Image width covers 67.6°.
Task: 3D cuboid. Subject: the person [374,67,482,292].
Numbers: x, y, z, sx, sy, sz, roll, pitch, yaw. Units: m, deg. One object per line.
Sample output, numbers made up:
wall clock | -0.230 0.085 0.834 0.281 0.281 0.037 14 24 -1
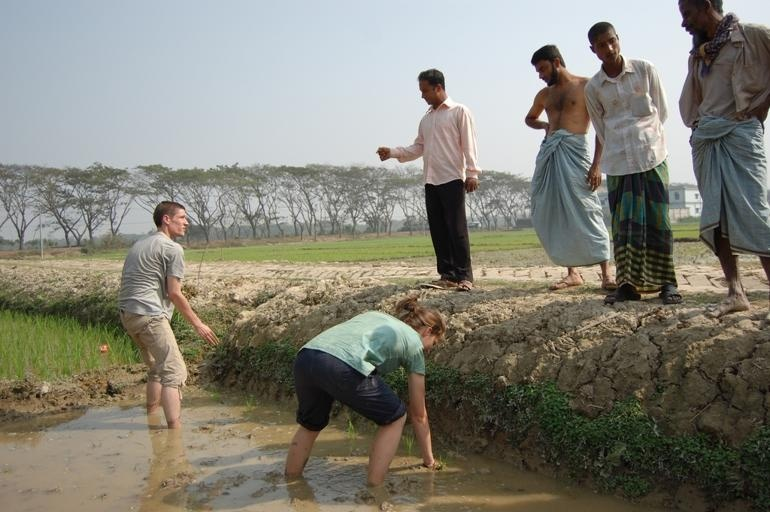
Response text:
person | 0.847 -1.045 7.891 0.746 2.963 1.296 -10 13 -35

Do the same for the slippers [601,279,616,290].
slippers | 2.699 0.347 6.945 0.078 0.079 0.184 -2 -12 0

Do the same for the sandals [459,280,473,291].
sandals | 1.064 0.389 7.579 0.185 0.115 0.252 0 10 14

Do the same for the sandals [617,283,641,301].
sandals | 2.641 0.416 6.306 0.235 0.155 0.241 -11 -22 38

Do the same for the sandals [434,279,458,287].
sandals | 0.830 0.367 7.789 0.304 0.127 0.111 6 -3 2

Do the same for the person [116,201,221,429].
person | -2.578 0.664 6.701 0.896 2.563 1.031 -7 11 -25

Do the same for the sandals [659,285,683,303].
sandals | 3.025 0.406 6.086 0.138 0.112 0.270 -5 -6 7

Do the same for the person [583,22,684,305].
person | 2.717 -1.055 6.315 0.996 3.003 0.978 1 11 19
